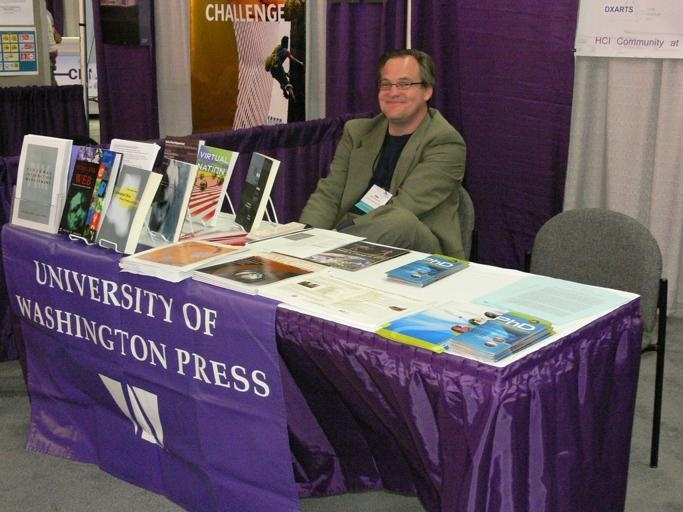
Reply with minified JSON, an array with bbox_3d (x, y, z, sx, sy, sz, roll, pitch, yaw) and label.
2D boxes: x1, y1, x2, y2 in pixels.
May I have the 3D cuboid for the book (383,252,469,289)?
[{"bbox_3d":[0.307,0.045,2.135,0.129,0.024,0.212,12,22,37],"label":"book"}]

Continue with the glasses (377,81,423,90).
[{"bbox_3d":[0.315,-0.906,3.190,0.208,0.050,0.060,4,14,6],"label":"glasses"}]

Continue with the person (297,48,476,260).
[{"bbox_3d":[0.212,-0.479,3.260,0.829,1.261,0.993,8,19,11],"label":"person"}]

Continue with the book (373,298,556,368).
[{"bbox_3d":[0.359,0.203,1.724,0.441,0.055,0.329,12,17,30],"label":"book"}]
